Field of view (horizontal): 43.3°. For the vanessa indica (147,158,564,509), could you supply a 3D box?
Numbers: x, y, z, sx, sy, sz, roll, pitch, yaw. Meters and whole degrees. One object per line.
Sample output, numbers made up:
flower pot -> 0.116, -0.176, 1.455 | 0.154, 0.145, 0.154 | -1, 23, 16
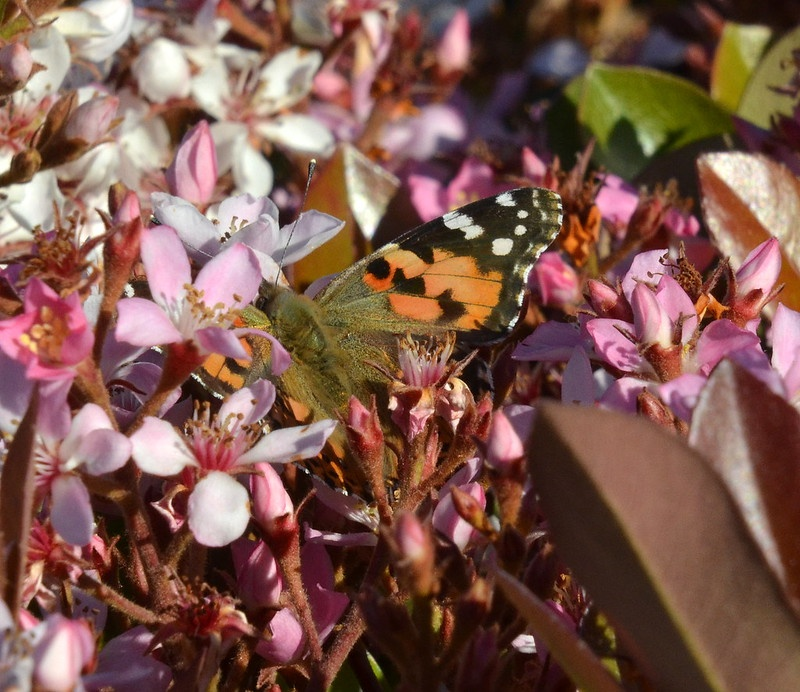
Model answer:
vanessa indica -> -0.030, -0.061, 1.369 | 0.449, 0.260, 0.388 | -15, 51, -33
